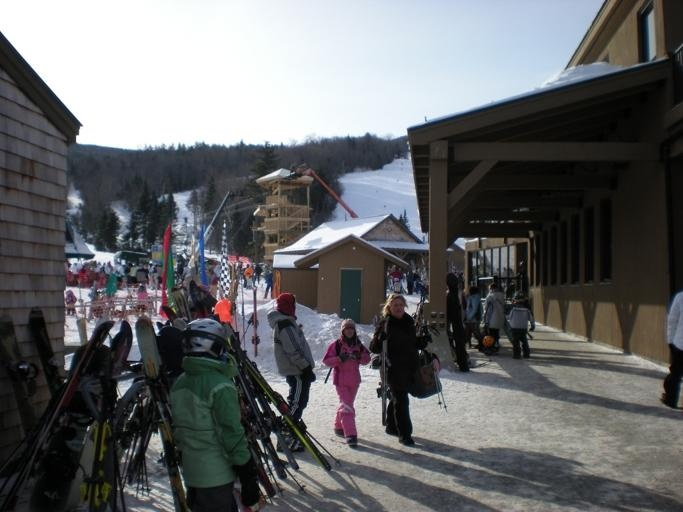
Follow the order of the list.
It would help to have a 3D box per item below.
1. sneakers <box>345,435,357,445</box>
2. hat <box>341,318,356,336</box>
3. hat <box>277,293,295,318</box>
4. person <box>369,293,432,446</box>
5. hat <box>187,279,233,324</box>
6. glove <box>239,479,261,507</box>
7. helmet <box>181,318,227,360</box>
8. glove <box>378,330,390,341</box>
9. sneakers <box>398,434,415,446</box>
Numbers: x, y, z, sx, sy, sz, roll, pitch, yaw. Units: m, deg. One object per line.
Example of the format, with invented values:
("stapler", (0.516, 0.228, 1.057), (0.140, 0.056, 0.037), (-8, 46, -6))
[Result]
("sneakers", (0.131, 2.219, 6.218), (0.141, 0.115, 0.200), (0, -1, -2))
("hat", (0.093, 0.916, 6.540), (0.143, 0.197, 0.210), (1, -9, -4))
("hat", (-0.703, 0.607, 6.464), (0.207, 0.311, 0.288), (5, 5, 38))
("person", (0.710, 1.371, 6.387), (0.679, 1.790, 0.498), (0, -1, 9))
("hat", (-1.634, 0.556, 6.393), (0.652, 0.570, 0.455), (2, -4, 2))
("glove", (-0.588, 1.525, 3.370), (0.144, 0.188, 0.150), (1, 4, -21))
("helmet", (-0.916, 0.534, 3.504), (0.295, 0.259, 0.235), (33, -32, -33))
("glove", (0.526, 0.975, 6.313), (0.098, 0.111, 0.025), (-5, -17, 20))
("sneakers", (0.824, 2.210, 6.171), (0.200, 0.100, 0.174), (0, -1, -20))
